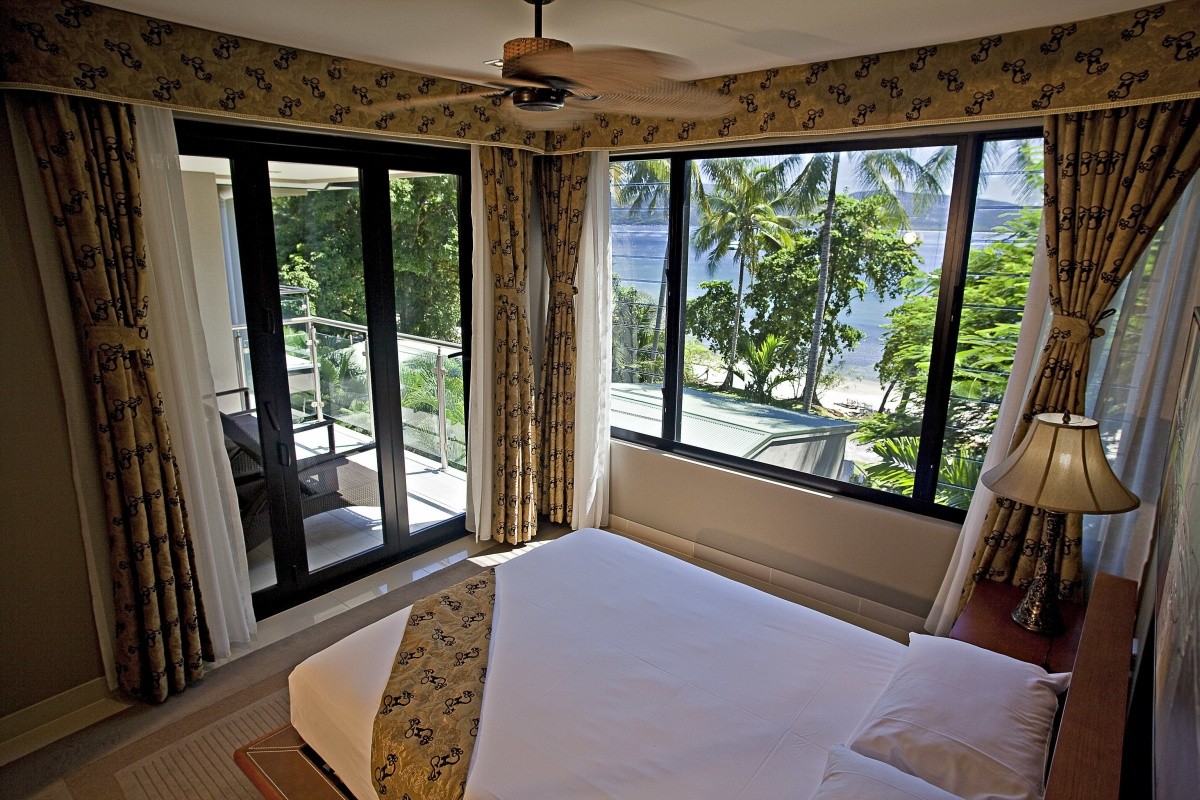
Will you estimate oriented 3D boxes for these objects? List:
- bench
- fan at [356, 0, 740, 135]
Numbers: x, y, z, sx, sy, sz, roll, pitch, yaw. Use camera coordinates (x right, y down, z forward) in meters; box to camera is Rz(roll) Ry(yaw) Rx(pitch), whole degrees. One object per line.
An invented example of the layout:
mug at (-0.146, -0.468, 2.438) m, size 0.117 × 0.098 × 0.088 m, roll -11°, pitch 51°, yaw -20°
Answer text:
bench at (-1.886, 0.365, 4.817) m, size 0.922 × 1.008 × 0.536 m, roll -17°, pitch 31°, yaw -39°
fan at (-0.227, -1.428, 3.447) m, size 1.122 × 0.447 × 1.242 m, roll 9°, pitch 12°, yaw 36°
